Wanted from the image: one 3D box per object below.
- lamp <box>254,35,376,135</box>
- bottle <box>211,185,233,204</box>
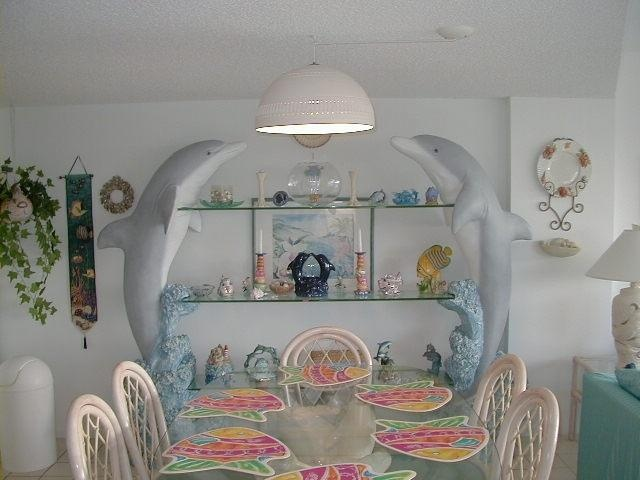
[{"bbox_3d":[-0.027,-0.695,2.967,0.438,0.358,0.449,0,2,-4],"label":"lamp"},{"bbox_3d":[-0.639,-0.300,3.982,0.111,0.081,0.114,0,-1,0],"label":"bottle"}]
